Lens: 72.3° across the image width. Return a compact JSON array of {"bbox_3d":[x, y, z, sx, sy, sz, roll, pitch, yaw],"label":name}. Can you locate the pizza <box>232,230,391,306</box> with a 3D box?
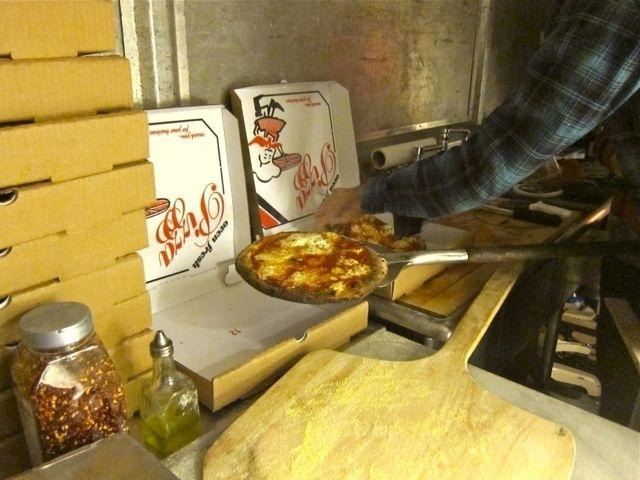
[{"bbox_3d":[-0.025,0.067,1.069,0.249,0.023,0.209,13,23,29],"label":"pizza"}]
